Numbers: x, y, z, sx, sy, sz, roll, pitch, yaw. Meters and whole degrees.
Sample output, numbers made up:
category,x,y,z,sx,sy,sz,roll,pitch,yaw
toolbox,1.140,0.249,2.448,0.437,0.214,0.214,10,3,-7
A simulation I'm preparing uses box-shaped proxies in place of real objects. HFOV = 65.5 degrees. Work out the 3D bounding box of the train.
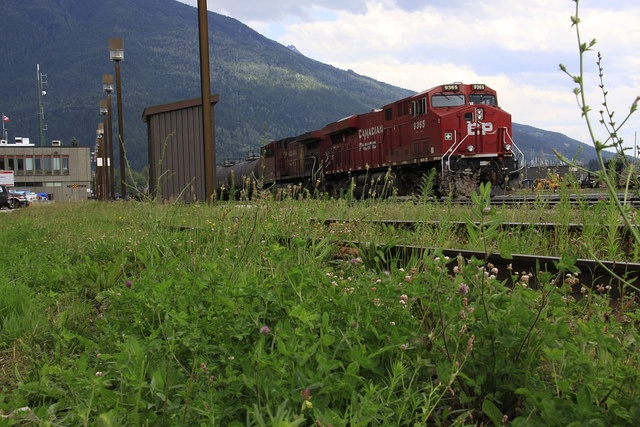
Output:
category,x,y,z,sx,sy,sz,roll,pitch,yaw
train,1.268,-2.706,25.206,2.965,3.885,19.931,-15,7,-22
